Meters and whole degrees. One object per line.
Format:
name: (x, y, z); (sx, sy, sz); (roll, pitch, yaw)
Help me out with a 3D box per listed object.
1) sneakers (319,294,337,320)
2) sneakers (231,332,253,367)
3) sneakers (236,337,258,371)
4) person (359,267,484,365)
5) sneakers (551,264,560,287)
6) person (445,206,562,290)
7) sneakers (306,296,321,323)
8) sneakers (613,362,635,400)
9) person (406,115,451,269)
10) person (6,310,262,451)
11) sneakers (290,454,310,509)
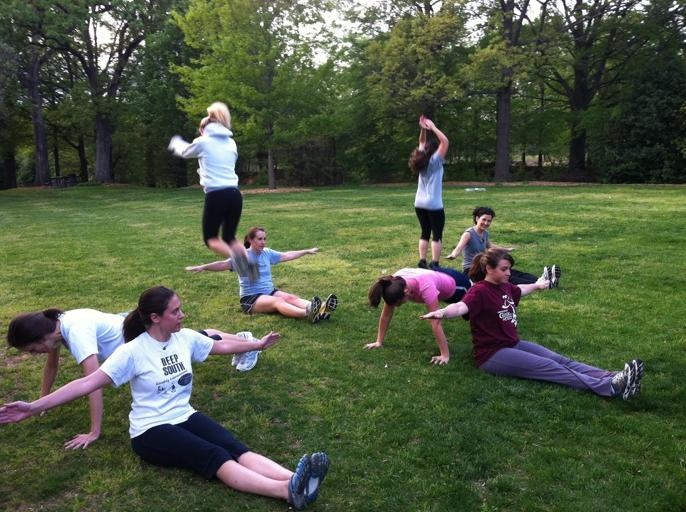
sneakers: (-0.248, 0.795, 9.490); (0.169, 0.470, 0.206); (19, -5, -33)
sneakers: (-1.380, 1.325, 8.208); (0.228, 0.611, 0.286); (3, 13, 20)
sneakers: (-1.220, 1.232, 7.672); (0.189, 0.498, 0.233); (14, 11, 23)
person: (1.491, 0.747, 8.754); (2.312, 1.124, 1.228); (-7, 7, -38)
sneakers: (3.571, 0.335, 10.253); (0.182, 0.400, 0.151); (-5, 6, 11)
person: (2.535, -0.151, 10.084); (1.566, 1.006, 1.616); (10, 21, 34)
sneakers: (-0.441, 0.808, 9.333); (0.164, 0.416, 0.195); (3, 1, -43)
sneakers: (3.396, 1.485, 7.357); (0.292, 0.498, 0.136); (3, 8, 17)
person: (1.547, -1.147, 11.224); (0.652, 2.747, 0.882); (1, 7, 8)
person: (-2.594, 1.238, 7.481); (2.539, 1.031, 1.424); (-6, 12, -24)
sneakers: (-0.473, 2.272, 6.269); (0.249, 0.513, 0.179); (-1, 4, -22)
